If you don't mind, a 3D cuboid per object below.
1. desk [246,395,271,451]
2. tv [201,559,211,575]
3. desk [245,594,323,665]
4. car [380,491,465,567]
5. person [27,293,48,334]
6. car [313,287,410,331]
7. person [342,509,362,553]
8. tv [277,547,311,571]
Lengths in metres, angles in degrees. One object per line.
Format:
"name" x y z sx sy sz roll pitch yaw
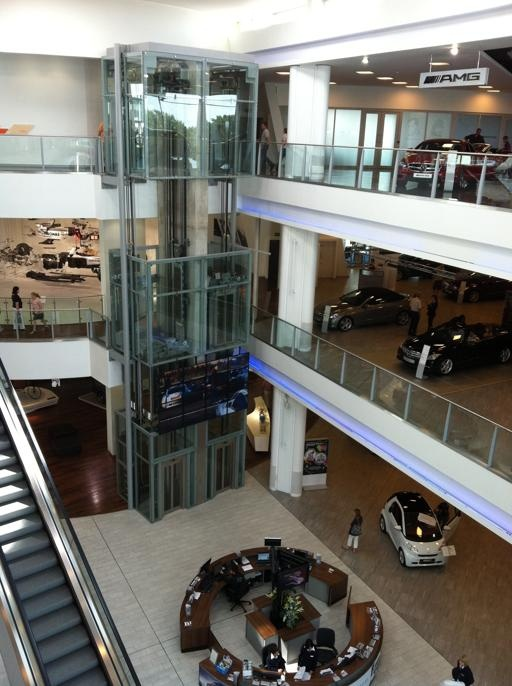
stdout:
"desk" 0.101 2.884 17.723 0.719 0.514 2.265 -3 28 -7
"tv" -1.037 4.559 10.382 0.189 0.297 0.311 3 13 3
"desk" 0.372 5.090 9.458 1.086 0.649 1.072 -10 29 -22
"car" 3.823 4.351 12.131 1.443 0.833 1.651 -4 21 -8
"person" -5.861 -0.741 13.591 0.384 0.759 1.493 -3 14 -23
"car" 3.311 -1.024 15.398 2.751 0.898 1.243 -9 24 -23
"person" 2.394 4.501 12.141 0.339 1.003 0.298 10 5 18
"tv" 0.712 4.543 10.332 0.596 0.244 0.581 -6 12 -35
